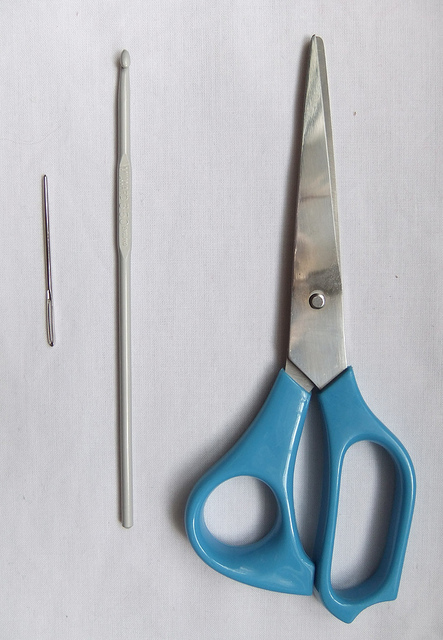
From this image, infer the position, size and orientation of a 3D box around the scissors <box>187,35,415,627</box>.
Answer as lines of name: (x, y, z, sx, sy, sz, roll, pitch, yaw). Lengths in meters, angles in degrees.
scissors: (0.066, 0.034, 0.613, 0.201, 0.400, 0.155, -27, -35, 37)
